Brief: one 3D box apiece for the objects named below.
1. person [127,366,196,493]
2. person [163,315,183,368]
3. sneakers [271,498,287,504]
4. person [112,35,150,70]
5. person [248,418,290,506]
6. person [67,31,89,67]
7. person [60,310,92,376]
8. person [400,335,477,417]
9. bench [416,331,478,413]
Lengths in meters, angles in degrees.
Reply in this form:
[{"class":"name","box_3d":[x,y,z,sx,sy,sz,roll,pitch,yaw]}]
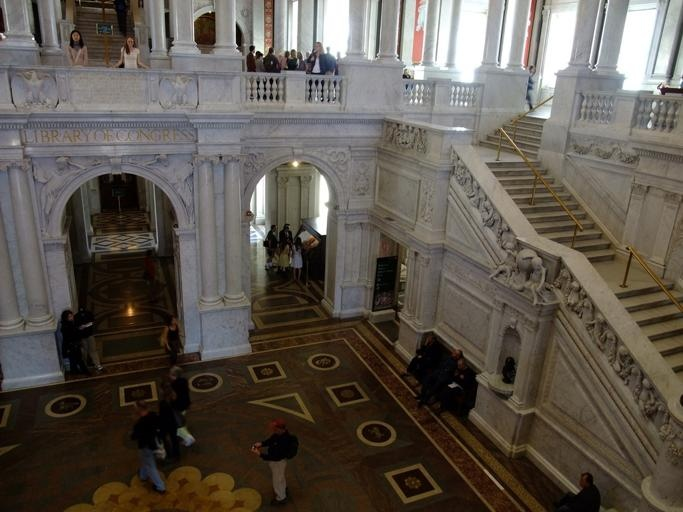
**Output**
[{"class":"person","box_3d":[-3.717,3.674,9.674,0.717,1.816,1.430,19,37,10]},{"class":"person","box_3d":[-4.472,2.288,12.426,0.419,1.382,0.418,-8,24,-31]},{"class":"sneakers","box_3d":[-1.184,4.682,8.952,0.291,0.135,0.101,3,14,-12]},{"class":"person","box_3d":[-5.210,-4.747,11.642,0.798,1.403,0.326,-2,0,-21]},{"class":"person","box_3d":[-1.265,3.648,8.901,0.718,1.972,1.107,-7,21,-13]},{"class":"person","box_3d":[-6.788,-5.343,11.997,0.433,0.872,1.161,-12,22,-25]},{"class":"person","box_3d":[-6.788,2.182,11.808,0.565,1.672,0.419,-4,20,-6]},{"class":"person","box_3d":[2.506,3.059,11.729,0.806,1.046,1.507,-7,41,-22]},{"class":"bench","box_3d":[2.476,2.883,11.661,0.837,1.432,1.568,4,24,-32]}]
